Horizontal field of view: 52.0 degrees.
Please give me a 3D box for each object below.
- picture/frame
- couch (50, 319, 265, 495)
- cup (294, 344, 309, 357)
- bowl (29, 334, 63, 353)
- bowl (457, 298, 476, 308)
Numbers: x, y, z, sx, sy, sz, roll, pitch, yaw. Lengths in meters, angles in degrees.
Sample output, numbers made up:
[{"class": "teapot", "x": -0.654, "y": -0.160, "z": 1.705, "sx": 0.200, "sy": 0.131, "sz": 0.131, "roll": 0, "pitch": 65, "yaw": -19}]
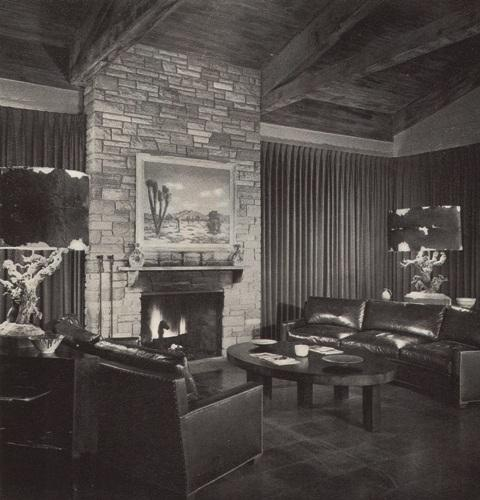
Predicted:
[{"class": "picture/frame", "x": -0.680, "y": -0.531, "z": 5.671, "sx": 1.228, "sy": 1.048, "sz": 0.060, "roll": 2, "pitch": -6, "yaw": -30}, {"class": "couch", "x": -0.366, "y": 0.873, "z": 2.696, "sx": 1.082, "sy": 0.671, "sz": 0.607, "roll": 0, "pitch": 0, "yaw": -21}, {"class": "cup", "x": 0.513, "y": 0.831, "z": 4.040, "sx": 0.094, "sy": 0.072, "sz": 0.102, "roll": 0, "pitch": -9, "yaw": 0}, {"class": "bowl", "x": -1.011, "y": 0.485, "z": 2.601, "sx": 0.109, "sy": 0.051, "sz": 0.104, "roll": 0, "pitch": -4, "yaw": 0}, {"class": "bowl", "x": 2.453, "y": 0.569, "z": 5.333, "sx": 0.161, "sy": 0.105, "sz": 0.162, "roll": 1, "pitch": -5, "yaw": 0}]
